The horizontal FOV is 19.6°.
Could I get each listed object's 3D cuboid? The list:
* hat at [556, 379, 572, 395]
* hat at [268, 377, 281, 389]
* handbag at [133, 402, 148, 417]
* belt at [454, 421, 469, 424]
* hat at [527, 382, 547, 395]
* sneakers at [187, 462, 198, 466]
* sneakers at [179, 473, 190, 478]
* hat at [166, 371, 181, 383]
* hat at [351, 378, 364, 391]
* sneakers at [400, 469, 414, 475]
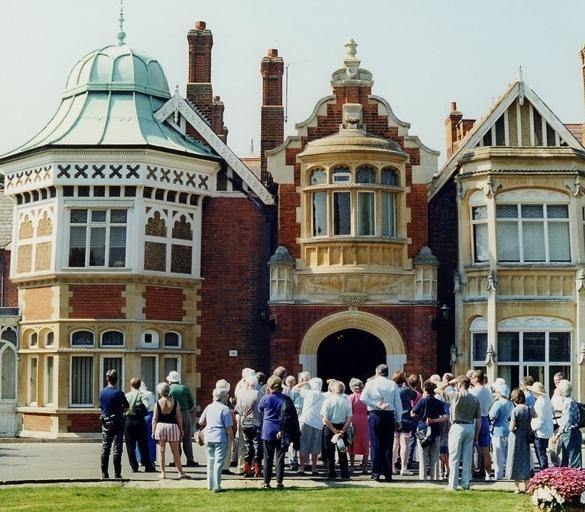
[{"bbox_3d":[5.821,2.823,36.303,0.259,0.356,0.358,7,-46,3],"label":"hat"},{"bbox_3d":[-0.416,2.773,36.631,0.228,0.198,0.247,-26,4,-38],"label":"hat"},{"bbox_3d":[-3.400,3.457,37.960,0.342,0.344,0.313,2,-17,-4],"label":"handbag"},{"bbox_3d":[3.603,3.561,36.010,0.301,0.072,0.077,-1,-10,9],"label":"belt"},{"bbox_3d":[5.326,2.954,36.965,0.318,0.298,0.683,-1,-10,8],"label":"hat"},{"bbox_3d":[-2.318,4.846,39.195,0.280,0.137,0.097,-1,-2,-10],"label":"sneakers"},{"bbox_3d":[-2.380,4.856,37.195,0.276,0.123,0.100,0,-3,-15],"label":"sneakers"},{"bbox_3d":[-2.716,2.824,38.467,0.304,0.175,0.421,0,10,-15],"label":"hat"},{"bbox_3d":[1.414,2.914,37.721,0.206,0.223,0.289,0,-15,-6],"label":"hat"},{"bbox_3d":[2.549,4.865,37.919,0.239,0.157,0.128,-3,3,-17],"label":"sneakers"}]
